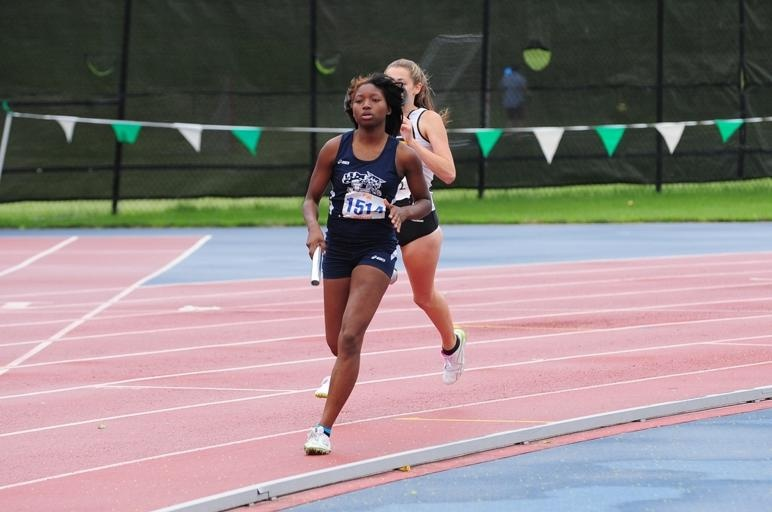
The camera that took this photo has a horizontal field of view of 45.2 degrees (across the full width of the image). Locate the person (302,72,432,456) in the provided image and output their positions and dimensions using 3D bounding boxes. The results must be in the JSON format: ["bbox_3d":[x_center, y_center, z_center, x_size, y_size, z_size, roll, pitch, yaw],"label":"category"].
[{"bbox_3d":[-0.220,0.007,5.779,0.767,2.309,1.037,7,10,17],"label":"person"}]

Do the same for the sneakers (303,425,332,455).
[{"bbox_3d":[-0.415,1.111,5.492,0.113,0.095,0.242,-1,-7,1],"label":"sneakers"}]

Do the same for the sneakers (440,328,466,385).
[{"bbox_3d":[0.476,0.750,6.868,0.168,0.394,0.213,10,6,40],"label":"sneakers"}]
